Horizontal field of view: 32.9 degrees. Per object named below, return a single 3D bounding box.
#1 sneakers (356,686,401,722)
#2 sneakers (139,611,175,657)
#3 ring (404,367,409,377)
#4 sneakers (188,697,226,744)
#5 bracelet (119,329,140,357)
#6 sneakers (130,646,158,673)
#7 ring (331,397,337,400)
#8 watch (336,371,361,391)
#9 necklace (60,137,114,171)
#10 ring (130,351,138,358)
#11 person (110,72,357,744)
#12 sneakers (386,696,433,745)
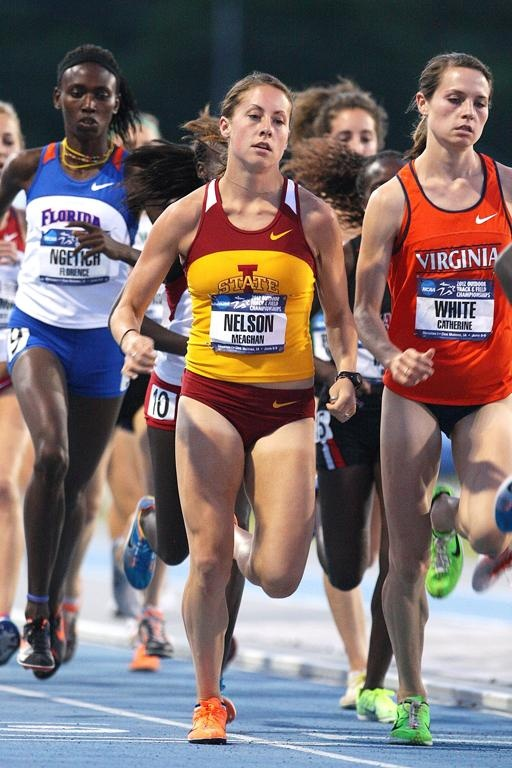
[{"bbox_3d":[0.517,1.337,3.674,0.113,0.127,0.298,0,-8,-29],"label":"sneakers"},{"bbox_3d":[-0.637,1.469,5.253,0.130,0.165,0.373,-7,26,-22],"label":"sneakers"},{"bbox_3d":[0.410,-0.035,2.375,0.008,0.025,0.026,-2,1,-2],"label":"ring"},{"bbox_3d":[-0.137,0.976,2.512,0.080,0.083,0.192,2,-9,-2],"label":"sneakers"},{"bbox_3d":[-0.363,-0.121,2.487,0.017,0.062,0.067,11,32,17],"label":"bracelet"},{"bbox_3d":[-0.695,1.705,5.391,0.130,0.196,0.203,-2,-21,6],"label":"sneakers"},{"bbox_3d":[0.224,0.042,2.522,0.013,0.009,0.013,-3,6,0],"label":"ring"},{"bbox_3d":[0.276,-0.008,2.633,0.068,0.037,0.057,-4,-13,43],"label":"watch"},{"bbox_3d":[-0.748,-0.957,3.720,0.151,0.081,0.179,7,47,4],"label":"necklace"},{"bbox_3d":[-0.322,-0.077,2.289,0.015,0.005,0.021,26,13,2],"label":"ring"},{"bbox_3d":[-0.059,0.056,2.611,0.760,1.951,0.627,2,12,-10],"label":"person"},{"bbox_3d":[0.523,1.098,2.867,0.112,0.106,0.255,3,-2,11],"label":"sneakers"}]
